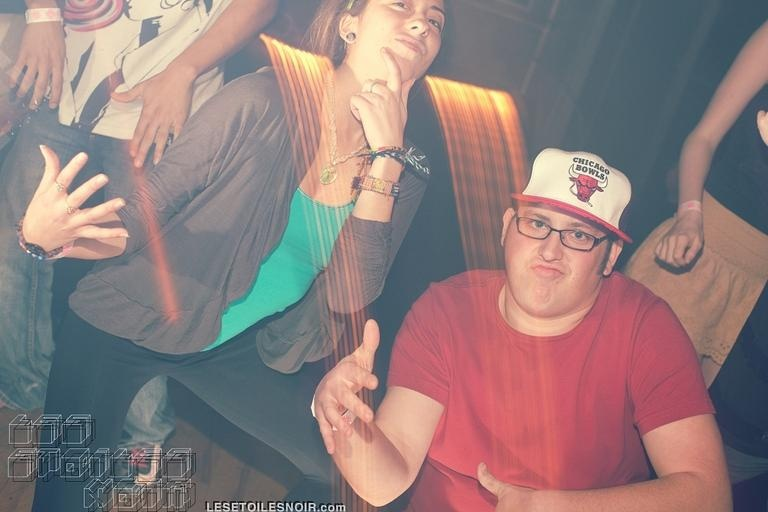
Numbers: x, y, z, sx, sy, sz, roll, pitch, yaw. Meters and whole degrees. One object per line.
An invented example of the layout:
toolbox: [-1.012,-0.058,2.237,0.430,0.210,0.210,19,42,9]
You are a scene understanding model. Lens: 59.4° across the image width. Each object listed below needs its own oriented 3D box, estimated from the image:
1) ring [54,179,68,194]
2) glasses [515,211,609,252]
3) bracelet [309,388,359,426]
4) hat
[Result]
ring: [-1.254,-0.269,2.617,0.039,0.043,0.027,28,72,-1]
glasses: [0.685,-0.081,2.642,0.360,0.085,0.073,19,28,5]
bracelet: [-0.174,0.598,2.605,0.133,0.188,0.079,12,70,9]
hat: [0.758,-0.260,2.696,0.405,0.212,0.362,15,13,-39]
